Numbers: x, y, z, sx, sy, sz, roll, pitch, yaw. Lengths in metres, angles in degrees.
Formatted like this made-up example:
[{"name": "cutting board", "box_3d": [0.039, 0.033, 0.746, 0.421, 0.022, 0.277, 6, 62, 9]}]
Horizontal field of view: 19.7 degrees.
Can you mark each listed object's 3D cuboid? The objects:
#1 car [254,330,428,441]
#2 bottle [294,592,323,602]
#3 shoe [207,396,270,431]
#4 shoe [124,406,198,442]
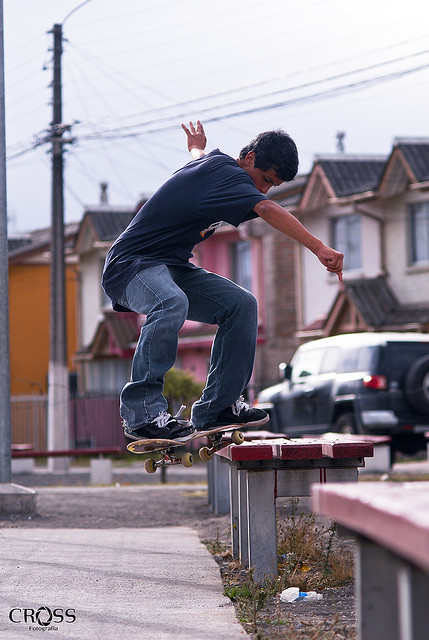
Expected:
[{"name": "car", "box_3d": [1.658, 0.807, 15.256, 1.185, 1.080, 2.440, 3, 1, -32]}, {"name": "bottle", "box_3d": [0.438, 1.315, 5.732, 0.068, 0.025, 0.049, 0, -4, -22]}, {"name": "shoe", "box_3d": [0.138, 0.500, 6.397, 0.232, 0.167, 0.353, -1, -1, 27]}, {"name": "shoe", "box_3d": [-0.267, 0.553, 6.137, 0.368, 0.139, 0.208, 0, -1, -5]}]
